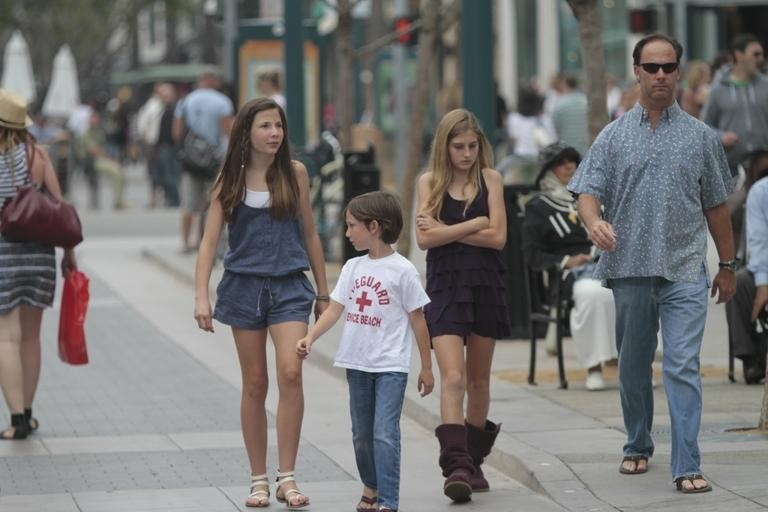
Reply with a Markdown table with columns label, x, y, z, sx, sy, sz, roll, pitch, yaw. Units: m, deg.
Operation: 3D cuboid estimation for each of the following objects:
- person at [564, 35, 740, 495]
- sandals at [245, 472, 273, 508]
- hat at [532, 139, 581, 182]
| label | x | y | z | sx | sy | sz | roll | pitch | yaw |
| --- | --- | --- | --- | --- | --- | --- | --- | --- | --- |
| person | 2.153 | 0.025 | 11.620 | 1.194 | 3.476 | 0.968 | 1 | 11 | 16 |
| sandals | -1.022 | 1.842 | 11.593 | 0.205 | 0.256 | 0.299 | -3 | 11 | -6 |
| hat | 1.690 | -0.957 | 14.439 | 0.296 | 0.128 | 0.326 | -20 | 4 | -21 |
